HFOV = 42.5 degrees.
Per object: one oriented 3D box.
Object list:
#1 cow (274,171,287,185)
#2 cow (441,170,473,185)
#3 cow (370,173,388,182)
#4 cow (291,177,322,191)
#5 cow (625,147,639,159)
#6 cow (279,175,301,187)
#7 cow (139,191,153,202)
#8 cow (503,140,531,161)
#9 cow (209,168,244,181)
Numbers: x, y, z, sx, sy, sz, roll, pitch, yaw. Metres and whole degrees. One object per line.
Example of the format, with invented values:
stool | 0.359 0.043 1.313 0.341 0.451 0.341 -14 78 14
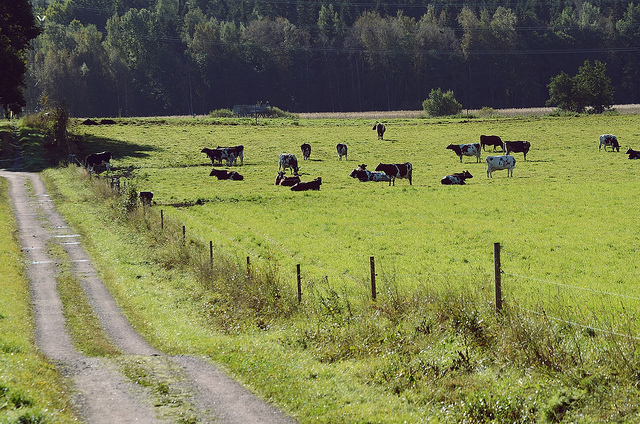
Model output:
cow | -4.575 -3.980 93.380 0.687 2.034 0.981 5 -19 23
cow | 15.130 -3.687 90.864 3.477 1.040 1.950 -8 11 -28
cow | 6.770 -3.959 94.780 2.453 1.603 0.764 1 4 -6
cow | -1.494 -2.894 91.086 3.284 1.993 1.335 -5 11 -9
cow | 37.232 -6.939 98.092 1.182 1.039 1.976 -1 10 9
cow | -3.336 -3.407 91.937 2.301 1.443 0.927 -2 11 2
cow | -18.028 -1.601 85.743 0.912 0.967 1.988 3 11 32
cow | 24.570 -7.851 102.381 2.568 1.876 4.174 -8 11 -29
cow | -10.874 -4.297 95.749 4.005 1.198 1.424 1 10 23
